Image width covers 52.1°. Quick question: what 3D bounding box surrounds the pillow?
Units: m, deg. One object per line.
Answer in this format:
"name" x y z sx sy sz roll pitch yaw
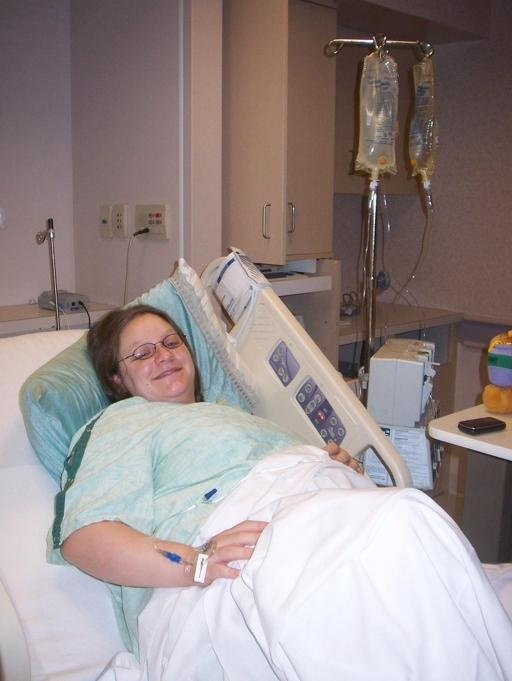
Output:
"pillow" -0.362 0.104 1.451 0.550 0.550 0.222 -40 22 -32

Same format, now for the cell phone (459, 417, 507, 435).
"cell phone" 0.580 0.207 1.340 0.094 0.024 0.050 -2 8 -20
